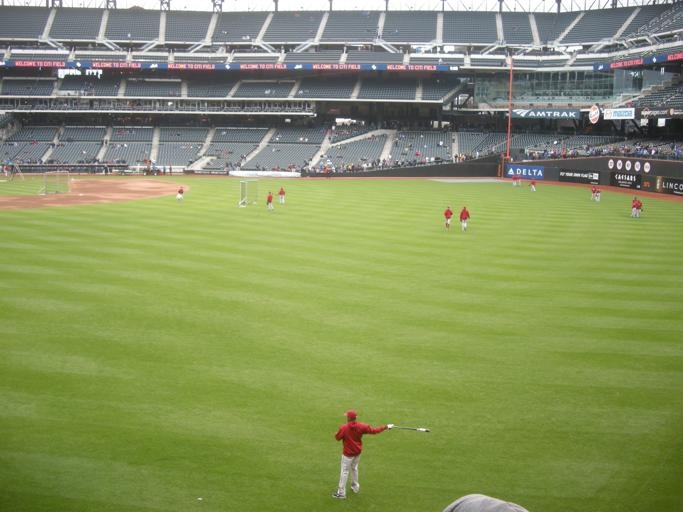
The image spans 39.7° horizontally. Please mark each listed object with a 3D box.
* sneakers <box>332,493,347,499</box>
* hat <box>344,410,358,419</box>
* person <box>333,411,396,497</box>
[{"bbox_3d":[-0.113,7.520,29.793,0.422,0.174,0.162,10,1,13],"label":"sneakers"},{"bbox_3d":[0.232,4.988,29.886,0.274,0.194,0.363,-6,15,-34],"label":"hat"},{"bbox_3d":[0.281,6.201,29.822,1.410,2.636,0.791,-11,19,-37],"label":"person"}]
